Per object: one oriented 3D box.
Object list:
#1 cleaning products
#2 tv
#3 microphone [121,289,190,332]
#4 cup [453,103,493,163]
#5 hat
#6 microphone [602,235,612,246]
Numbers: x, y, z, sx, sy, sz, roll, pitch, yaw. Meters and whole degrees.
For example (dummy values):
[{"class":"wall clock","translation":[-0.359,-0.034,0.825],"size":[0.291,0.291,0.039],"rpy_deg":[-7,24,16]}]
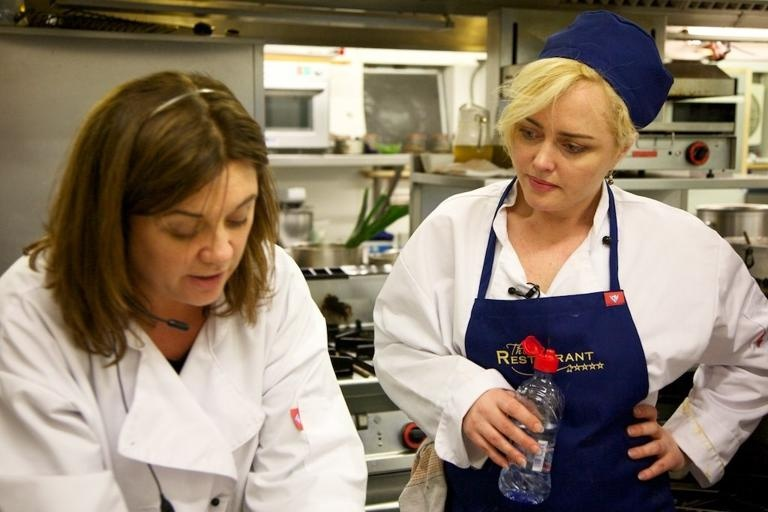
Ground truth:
[{"class":"cleaning products","translation":[0.379,0.424,1.683],"size":[0.147,0.436,0.149],"rpy_deg":[-10,11,-42]},{"class":"tv","translation":[0.087,-0.748,3.400],"size":[0.423,0.404,0.099],"rpy_deg":[1,8,-10]},{"class":"microphone","translation":[-0.540,0.142,1.564],"size":[0.122,0.094,0.032],"rpy_deg":[14,7,9]},{"class":"cup","translation":[0.401,-0.574,3.123],"size":[0.184,0.312,0.305],"rpy_deg":[0,5,-8]},{"class":"hat","translation":[0.577,-0.479,1.679],"size":[0.340,0.304,0.159],"rpy_deg":[-1,9,13]},{"class":"microphone","translation":[0.601,-0.039,1.748],"size":[0.023,0.023,0.009],"rpy_deg":[6,6,2]}]
